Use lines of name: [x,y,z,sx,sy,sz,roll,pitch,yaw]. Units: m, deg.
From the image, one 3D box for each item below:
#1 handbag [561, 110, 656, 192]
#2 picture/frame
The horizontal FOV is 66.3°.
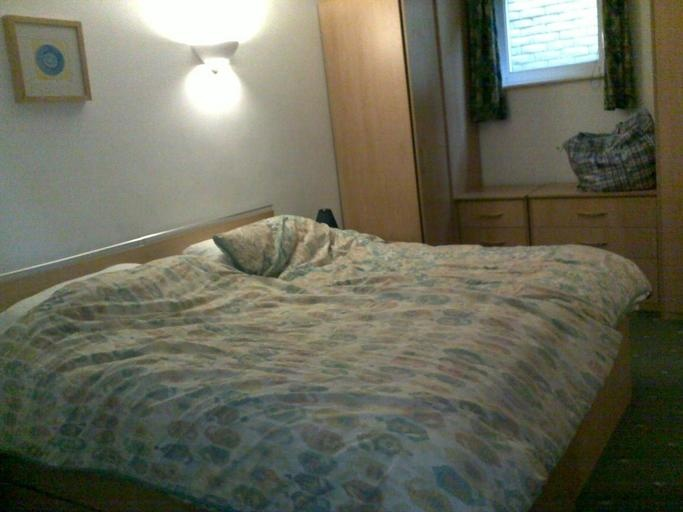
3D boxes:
handbag: [1.917,-0.698,3.767,0.485,0.449,0.621,-30,22,-34]
picture/frame: [-1.405,-0.921,2.448,0.043,0.424,0.419,1,14,37]
